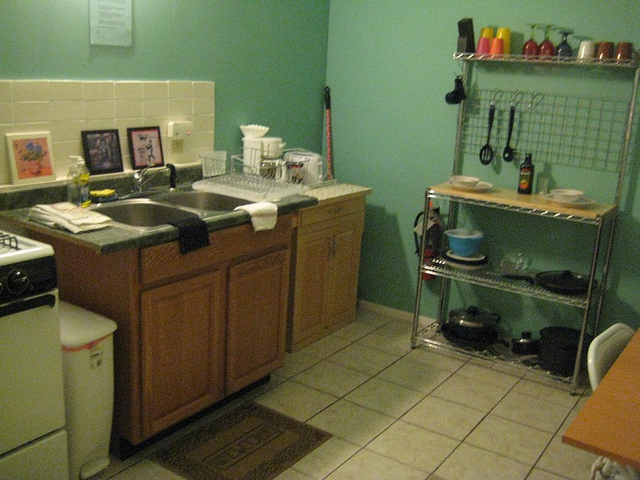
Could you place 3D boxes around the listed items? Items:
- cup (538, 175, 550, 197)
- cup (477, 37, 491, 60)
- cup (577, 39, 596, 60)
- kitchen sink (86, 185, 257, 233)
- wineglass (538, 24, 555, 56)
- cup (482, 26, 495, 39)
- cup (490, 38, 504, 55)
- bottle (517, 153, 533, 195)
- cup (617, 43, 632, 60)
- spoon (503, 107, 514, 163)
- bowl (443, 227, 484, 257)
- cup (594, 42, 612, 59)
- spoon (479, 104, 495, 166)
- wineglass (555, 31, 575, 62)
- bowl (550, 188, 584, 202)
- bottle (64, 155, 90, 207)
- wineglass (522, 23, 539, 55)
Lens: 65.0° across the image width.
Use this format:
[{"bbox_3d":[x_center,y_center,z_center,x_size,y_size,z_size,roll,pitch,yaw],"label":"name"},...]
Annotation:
[{"bbox_3d":[1.513,-0.386,3.410,0.072,0.113,0.043,6,22,24],"label":"cup"},{"bbox_3d":[1.076,-1.269,3.309,0.077,0.136,0.137,3,20,17],"label":"cup"},{"bbox_3d":[1.615,-1.154,3.030,0.093,0.095,0.080,7,22,26],"label":"cup"},{"bbox_3d":[-0.754,-0.157,2.764,0.689,0.179,0.712,9,23,31],"label":"kitchen sink"},{"bbox_3d":[1.432,-1.266,3.172,0.095,0.187,0.195,6,22,25],"label":"wineglass"},{"bbox_3d":[1.116,-1.384,3.341,0.085,0.079,0.086,2,12,-1],"label":"cup"},{"bbox_3d":[1.157,-1.266,3.274,0.098,0.107,0.101,-1,18,0],"label":"cup"},{"bbox_3d":[1.373,-0.441,3.348,0.083,0.253,0.132,4,21,21],"label":"bottle"},{"bbox_3d":[1.790,-1.114,2.952,0.076,0.093,0.080,-3,20,1],"label":"cup"},{"bbox_3d":[1.292,-0.714,3.425,0.063,0.379,0.117,1,20,11],"label":"spoon"},{"bbox_3d":[1.034,0.011,3.605,0.257,0.163,0.316,7,22,26],"label":"bowl"},{"bbox_3d":[1.697,-1.132,2.992,0.084,0.092,0.130,7,22,26],"label":"cup"},{"bbox_3d":[1.168,-0.727,3.503,0.099,0.421,0.151,6,22,24],"label":"spoon"},{"bbox_3d":[1.548,-1.239,3.153,0.163,0.147,0.087,-13,22,-26],"label":"wineglass"},{"bbox_3d":[1.540,-0.274,3.142,0.177,0.063,0.183,-3,19,1],"label":"bowl"},{"bbox_3d":[-1.265,-0.308,2.607,0.120,0.252,0.084,9,23,31],"label":"bottle"},{"bbox_3d":[1.349,-1.291,3.209,0.083,0.194,0.160,0,20,8],"label":"wineglass"}]
